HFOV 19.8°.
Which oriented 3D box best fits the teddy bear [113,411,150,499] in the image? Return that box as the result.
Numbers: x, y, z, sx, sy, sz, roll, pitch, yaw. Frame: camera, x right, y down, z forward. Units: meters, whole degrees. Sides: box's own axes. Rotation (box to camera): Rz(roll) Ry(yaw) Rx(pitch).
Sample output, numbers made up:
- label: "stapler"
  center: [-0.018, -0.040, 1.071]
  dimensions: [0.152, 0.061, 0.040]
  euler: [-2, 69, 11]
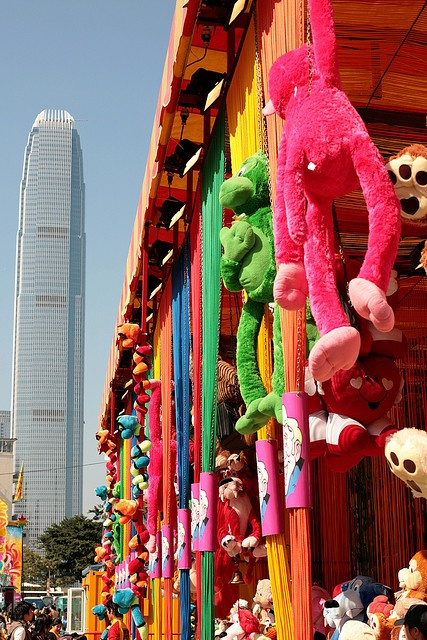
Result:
- label: "teddy bear"
  center: [-0.632, 1.137, 9.882]
  dimensions: [0.242, 0.733, 0.235]
  euler: [-2, 9, 2]

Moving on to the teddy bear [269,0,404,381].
- label: "teddy bear"
  center: [0.419, -0.475, 4.675]
  dimensions: [0.279, 1.462, 0.610]
  euler: [7, -23, -28]

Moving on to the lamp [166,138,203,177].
- label: "lamp"
  center: [-0.222, -1.104, 8.313]
  dimensions: [0.194, 0.163, 0.477]
  euler: [2, -24, -17]

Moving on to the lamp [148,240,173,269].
- label: "lamp"
  center: [-0.429, -0.535, 9.907]
  dimensions: [0.166, 0.133, 0.232]
  euler: [-26, 11, -10]

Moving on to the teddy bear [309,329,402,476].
- label: "teddy bear"
  center: [0.628, 0.301, 5.483]
  dimensions: [0.465, 0.705, 0.368]
  euler: [3, -15, -7]

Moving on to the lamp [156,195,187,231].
- label: "lamp"
  center: [-0.320, -0.810, 9.162]
  dimensions: [0.165, 0.123, 0.229]
  euler: [-39, -11, -24]

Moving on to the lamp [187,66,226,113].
- label: "lamp"
  center: [-0.061, -1.408, 7.414]
  dimensions: [0.199, 0.064, 0.191]
  euler: [18, -45, -18]

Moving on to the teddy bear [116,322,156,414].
- label: "teddy bear"
  center: [-0.701, 0.426, 11.155]
  dimensions: [0.358, 1.087, 0.356]
  euler: [9, -50, -10]

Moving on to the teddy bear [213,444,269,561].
- label: "teddy bear"
  center: [0.168, 1.302, 8.630]
  dimensions: [0.312, 0.921, 0.783]
  euler: [-4, -21, -1]
